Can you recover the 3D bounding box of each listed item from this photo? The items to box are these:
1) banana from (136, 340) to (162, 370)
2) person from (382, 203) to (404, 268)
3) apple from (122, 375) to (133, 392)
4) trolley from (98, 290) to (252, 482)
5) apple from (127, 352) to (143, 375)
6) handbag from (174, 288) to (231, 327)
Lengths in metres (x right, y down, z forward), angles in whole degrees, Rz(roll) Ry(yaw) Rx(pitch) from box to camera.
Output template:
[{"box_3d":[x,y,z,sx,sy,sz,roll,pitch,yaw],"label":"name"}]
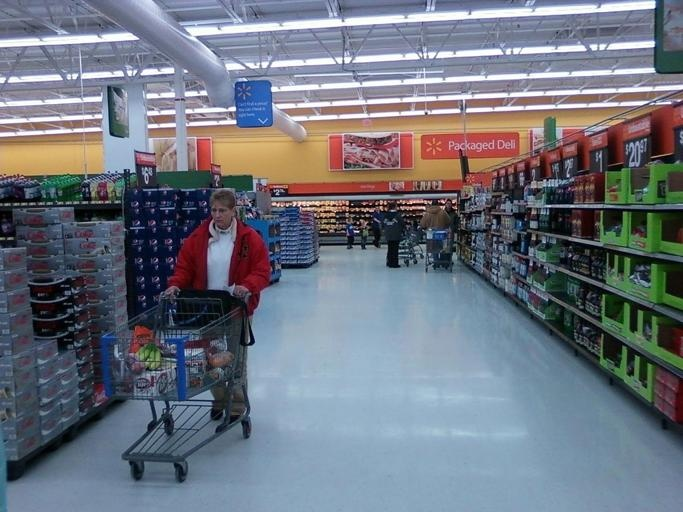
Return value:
[{"box_3d":[-1.266,0.654,3.231,0.138,0.184,0.071,-2,-16,-3],"label":"banana"},{"box_3d":[1.508,-0.635,14.166,0.505,1.906,1.392,0,8,6],"label":"person"},{"box_3d":[-1.402,0.835,3.201,0.072,0.100,0.034,-3,8,-15],"label":"apple"},{"box_3d":[-1.229,0.912,3.733,0.712,1.179,1.227,-5,-4,12],"label":"trolley"},{"box_3d":[-1.353,0.702,3.212,0.105,0.133,0.038,2,9,21],"label":"apple"},{"box_3d":[-1.029,0.372,3.631,0.385,0.274,0.183,2,12,23],"label":"handbag"}]
